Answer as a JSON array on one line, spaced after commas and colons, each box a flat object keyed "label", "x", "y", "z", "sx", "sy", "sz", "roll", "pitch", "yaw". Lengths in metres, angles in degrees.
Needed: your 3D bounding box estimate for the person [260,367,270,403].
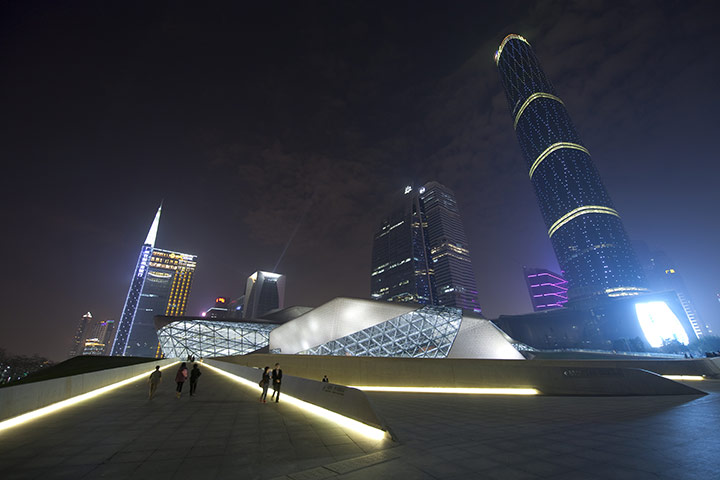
[{"label": "person", "x": -4.938, "y": 7.321, "z": 19.797, "sx": 0.423, "sy": 1.648, "sz": 1.147, "roll": 3, "pitch": -21, "yaw": -14}]
